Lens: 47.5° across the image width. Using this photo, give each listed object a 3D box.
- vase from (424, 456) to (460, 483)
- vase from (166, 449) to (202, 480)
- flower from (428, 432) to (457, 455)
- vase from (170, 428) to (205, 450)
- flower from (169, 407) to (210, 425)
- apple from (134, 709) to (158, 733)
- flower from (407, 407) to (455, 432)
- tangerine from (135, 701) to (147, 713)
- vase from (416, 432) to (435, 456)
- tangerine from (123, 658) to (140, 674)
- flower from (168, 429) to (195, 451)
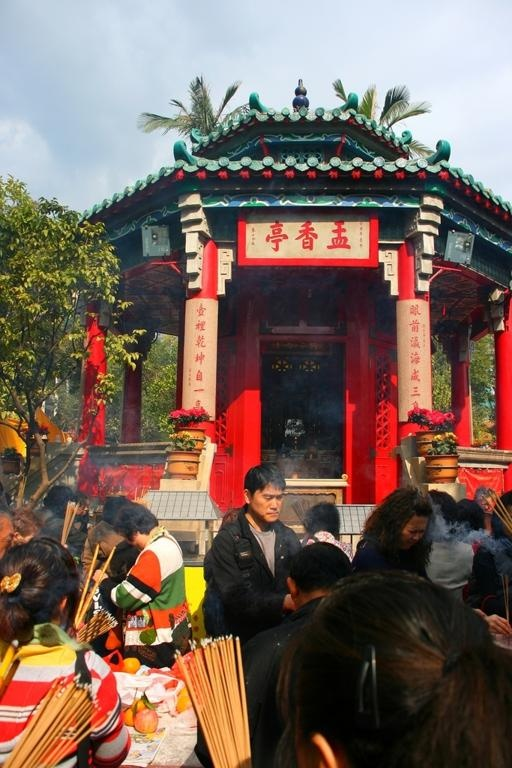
[{"bbox_3d":[2.459,1.125,7.657,0.369,0.288,0.375,2,-18,1],"label":"vase"},{"bbox_3d":[-0.958,1.109,7.855,0.381,0.287,0.392,-12,-19,38],"label":"vase"},{"bbox_3d":[2.491,0.799,7.796,0.352,0.338,0.283,1,-11,17],"label":"flower"},{"bbox_3d":[-0.896,0.764,7.842,0.310,0.221,0.304,7,-15,-29],"label":"vase"},{"bbox_3d":[-0.900,0.458,8.178,0.324,0.206,0.328,-1,0,9],"label":"flower"},{"bbox_3d":[-0.490,1.513,2.609,0.100,0.089,0.089,3,-10,3],"label":"apple"},{"bbox_3d":[2.404,0.507,8.082,0.572,0.346,0.451,1,-10,14],"label":"flower"},{"bbox_3d":[-0.519,1.470,2.656,0.039,0.048,0.040,-16,-6,1],"label":"tangerine"},{"bbox_3d":[2.302,0.831,8.034,0.286,0.292,0.291,3,-17,6],"label":"vase"},{"bbox_3d":[-0.683,1.577,3.277,0.070,0.074,0.084,36,-27,8],"label":"tangerine"},{"bbox_3d":[-0.969,0.756,7.797,0.264,0.266,0.218,-3,-5,-15],"label":"flower"}]
